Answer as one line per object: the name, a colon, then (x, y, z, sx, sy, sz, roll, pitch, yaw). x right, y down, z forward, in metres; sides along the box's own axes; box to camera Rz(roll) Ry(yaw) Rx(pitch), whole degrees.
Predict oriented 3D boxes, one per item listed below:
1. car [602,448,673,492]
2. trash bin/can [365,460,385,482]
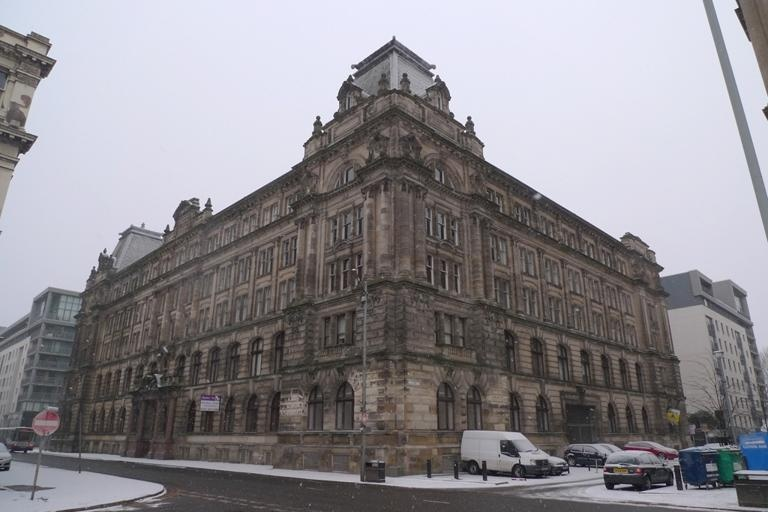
car: (18.053, 15.378, 37.013, 7.506, 2.429, 2.938, 10, -14, -44)
trash bin/can: (-0.823, 16.532, 39.853, 1.134, 1.570, 2.058, 21, -34, -39)
